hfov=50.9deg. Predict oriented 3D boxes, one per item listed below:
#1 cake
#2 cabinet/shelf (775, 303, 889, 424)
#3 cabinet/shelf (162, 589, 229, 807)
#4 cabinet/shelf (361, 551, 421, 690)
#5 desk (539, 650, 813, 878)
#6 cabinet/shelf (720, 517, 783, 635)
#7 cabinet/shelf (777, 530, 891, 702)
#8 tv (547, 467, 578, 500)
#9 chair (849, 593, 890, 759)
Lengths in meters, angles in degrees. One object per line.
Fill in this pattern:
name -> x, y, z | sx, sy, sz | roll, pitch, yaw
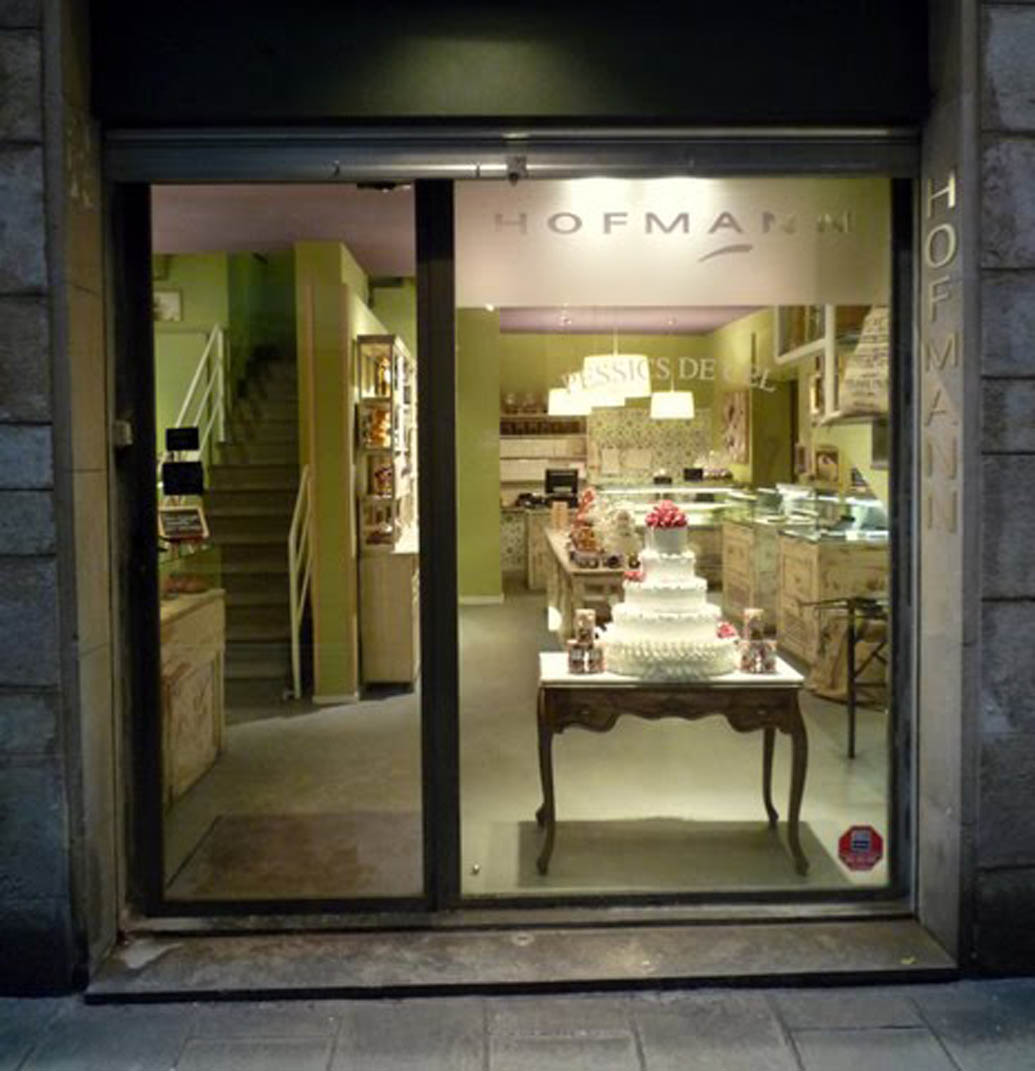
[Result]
cake -> 0.448, 0.182, 3.615 | 0.421, 0.550, 0.488 | 0, -1, -3
cabinet/shelf -> 1.091, -0.560, 3.673 | 0.246, 0.408, 0.373 | -3, 0, -2
cabinet/shelf -> -1.051, 0.513, 3.549 | 0.226, 0.637, 0.194 | -4, 7, -18
cabinet/shelf -> -0.467, 0.431, 3.800 | 0.190, 0.531, 0.563 | 1, -37, -9
desk -> 0.517, 0.752, 3.811 | 0.867, 0.755, 0.580 | -1, 7, 2
cabinet/shelf -> 0.788, 0.135, 3.679 | 0.110, 0.396, 0.178 | -6, 10, -28
cabinet/shelf -> 1.093, 0.233, 3.818 | 0.265, 0.482, 0.483 | -2, 6, 2
tv -> 0.150, -0.171, 3.625 | 0.113, 0.129, 0.092 | 1, -19, -4
chair -> 1.142, 0.445, 3.567 | 0.128, 0.502, 0.243 | 0, 7, 17
